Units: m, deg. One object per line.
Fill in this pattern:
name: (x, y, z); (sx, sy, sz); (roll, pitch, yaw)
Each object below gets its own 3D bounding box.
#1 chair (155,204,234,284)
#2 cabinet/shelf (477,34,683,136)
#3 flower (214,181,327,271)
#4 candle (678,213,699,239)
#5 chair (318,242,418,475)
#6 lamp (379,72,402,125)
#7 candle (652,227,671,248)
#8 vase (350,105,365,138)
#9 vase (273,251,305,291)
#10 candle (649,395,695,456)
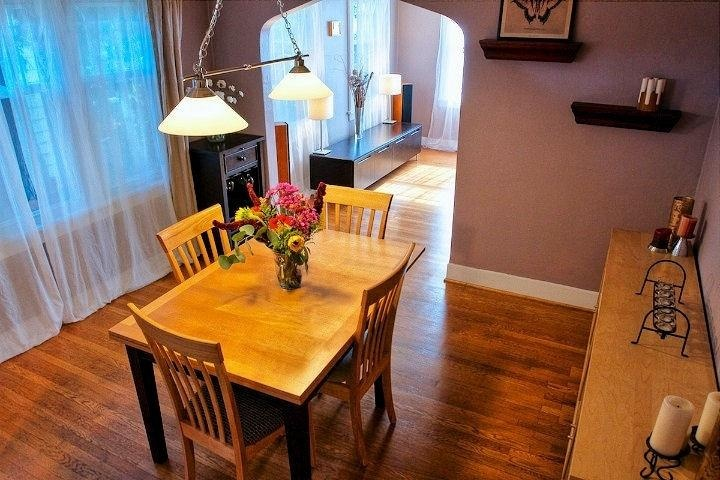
chair: (-1.354, 0.021, 3.709); (0.389, 0.653, 0.371); (32, 58, 18)
cabinet/shelf: (1.739, -1.257, 3.718); (1.570, 0.663, 0.166); (11, 24, 21)
flower: (-0.494, -0.067, 2.937); (0.642, 0.559, 0.501); (-19, 43, -30)
candle: (2.276, -0.098, 3.224); (0.120, 0.139, 0.118); (-16, 33, -7)
chair: (0.028, 0.795, 2.989); (0.661, 1.418, 0.651); (21, 44, 20)
lamp: (0.514, -2.292, 7.531); (0.362, 0.779, 0.941); (3, 22, 4)
candle: (2.225, -0.030, 3.436); (0.133, 0.146, 0.138); (12, 36, 26)
vase: (-0.053, -1.778, 6.916); (0.243, 0.736, 0.220); (1, 41, 5)
vase: (-0.436, 0.189, 2.873); (0.166, 0.196, 0.146); (-15, 32, -25)
candle: (1.379, 0.799, 2.001); (0.199, 0.273, 0.093); (-4, 24, -15)
